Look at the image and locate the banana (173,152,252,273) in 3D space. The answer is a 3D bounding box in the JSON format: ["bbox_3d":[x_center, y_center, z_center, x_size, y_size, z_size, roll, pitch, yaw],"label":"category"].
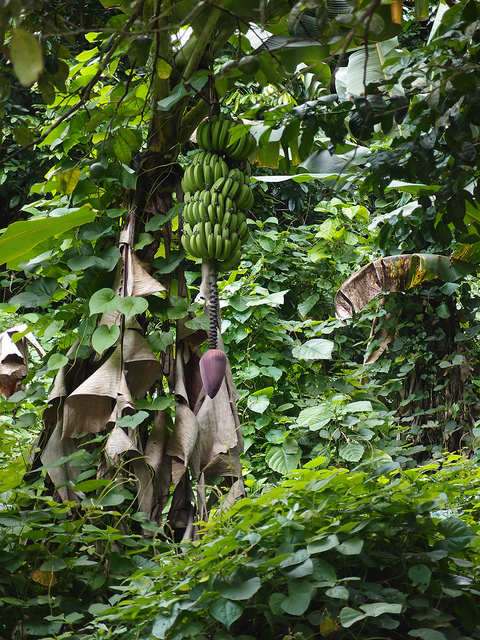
[{"bbox_3d":[-0.053,-0.244,1.548,0.165,0.272,0.134,11,-17,-20],"label":"banana"}]

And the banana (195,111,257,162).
[{"bbox_3d":[-0.032,-0.426,1.550,0.146,0.093,0.086,-6,9,1],"label":"banana"}]
